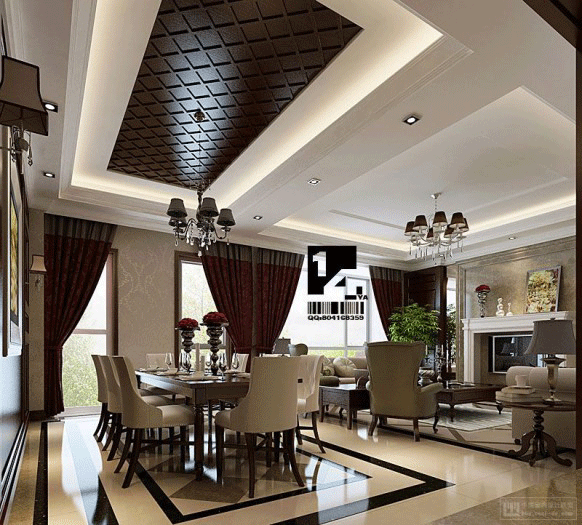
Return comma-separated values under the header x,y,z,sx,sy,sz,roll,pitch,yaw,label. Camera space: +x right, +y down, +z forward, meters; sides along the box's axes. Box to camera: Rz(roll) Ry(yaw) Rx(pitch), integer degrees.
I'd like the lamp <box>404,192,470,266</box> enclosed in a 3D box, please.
x,y,z,sx,sy,sz,roll,pitch,yaw,label
2.081,-0.512,6.316,0.849,1.066,0.865,4,-10,-20,lamp

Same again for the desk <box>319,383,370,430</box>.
x,y,z,sx,sy,sz,roll,pitch,yaw,label
0.698,1.829,5.614,0.439,0.470,0.602,4,-10,-34,desk

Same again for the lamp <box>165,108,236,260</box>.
x,y,z,sx,sy,sz,roll,pitch,yaw,label
-0.977,-0.925,4.748,0.627,1.532,0.662,2,0,-8,lamp

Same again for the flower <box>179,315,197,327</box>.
x,y,z,sx,sy,sz,roll,pitch,yaw,label
-1.024,0.603,4.388,0.140,0.104,0.126,9,-7,-40,flower

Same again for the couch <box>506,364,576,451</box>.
x,y,z,sx,sy,sz,roll,pitch,yaw,label
2.532,1.362,4.591,0.834,0.928,0.865,-2,-6,38,couch

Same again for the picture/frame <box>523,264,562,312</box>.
x,y,z,sx,sy,sz,roll,pitch,yaw,label
4.310,0.454,7.467,0.061,0.958,0.732,7,-7,-25,picture/frame

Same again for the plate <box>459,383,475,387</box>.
x,y,z,sx,sy,sz,roll,pitch,yaw,label
2.525,1.760,6.293,0.129,0.030,0.137,0,-6,-15,plate

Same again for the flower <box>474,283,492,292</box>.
x,y,z,sx,sy,sz,roll,pitch,yaw,label
3.602,0.483,8.261,0.158,0.109,0.179,2,-6,-29,flower

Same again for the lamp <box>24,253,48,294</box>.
x,y,z,sx,sy,sz,roll,pitch,yaw,label
-3.156,0.106,5.509,0.284,0.467,0.308,3,1,16,lamp

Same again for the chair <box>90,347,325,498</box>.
x,y,z,sx,sy,sz,roll,pitch,yaw,label
-0.605,1.222,3.513,1.443,0.946,0.759,-2,-8,11,chair

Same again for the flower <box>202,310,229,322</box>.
x,y,z,sx,sy,sz,roll,pitch,yaw,label
-0.739,0.538,4.241,0.220,0.118,0.250,2,-9,-12,flower

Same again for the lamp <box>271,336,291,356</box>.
x,y,z,sx,sy,sz,roll,pitch,yaw,label
-0.162,1.397,7.325,0.254,0.277,0.257,2,-2,-36,lamp

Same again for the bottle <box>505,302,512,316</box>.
x,y,z,sx,sy,sz,roll,pitch,yaw,label
3.958,0.839,7.979,0.099,0.215,0.186,-5,-10,35,bottle

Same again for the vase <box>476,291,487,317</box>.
x,y,z,sx,sy,sz,roll,pitch,yaw,label
3.674,0.816,8.399,0.196,0.458,0.347,-3,-9,23,vase
